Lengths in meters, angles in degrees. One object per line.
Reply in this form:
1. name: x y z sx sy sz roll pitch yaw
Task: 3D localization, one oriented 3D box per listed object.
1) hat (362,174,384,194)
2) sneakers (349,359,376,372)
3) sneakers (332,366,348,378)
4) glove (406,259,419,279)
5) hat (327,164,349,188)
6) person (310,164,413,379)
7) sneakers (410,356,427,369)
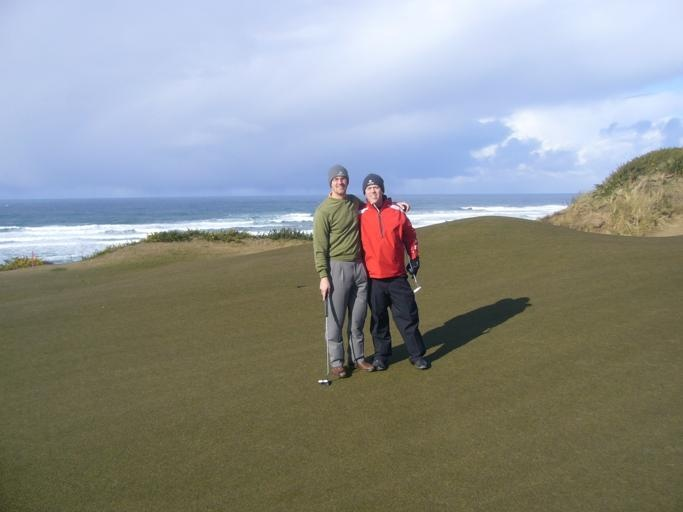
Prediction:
1. hat: 0.382 -0.865 6.171 0.226 0.244 0.269 -2 14 -1
2. sneakers: 0.283 1.342 6.382 0.321 0.222 0.118 -1 4 18
3. sneakers: -0.026 1.423 6.232 0.186 0.199 0.107 -1 3 27
4. glove: 0.916 0.167 6.544 0.159 0.239 0.090 2 9 -13
5. hat: -0.031 -0.935 5.974 0.192 0.254 0.404 -3 14 -5
6. person: 0.010 0.189 6.207 0.658 2.490 0.681 -3 13 -3
7. sneakers: 0.961 1.310 6.249 0.115 0.095 0.228 -1 11 -8
